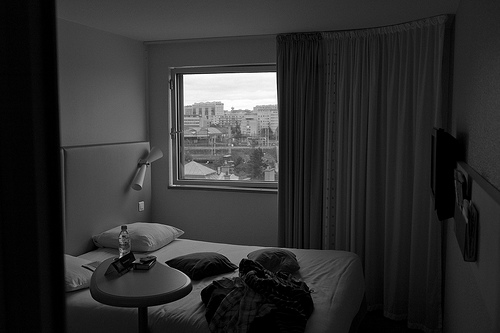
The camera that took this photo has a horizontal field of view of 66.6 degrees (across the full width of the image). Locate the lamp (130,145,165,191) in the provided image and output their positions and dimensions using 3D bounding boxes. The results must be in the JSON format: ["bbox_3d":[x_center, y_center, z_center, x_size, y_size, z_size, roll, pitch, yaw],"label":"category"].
[{"bbox_3d":[-1.155,0.002,4.232,0.164,0.155,0.504,-5,23,-1],"label":"lamp"}]
